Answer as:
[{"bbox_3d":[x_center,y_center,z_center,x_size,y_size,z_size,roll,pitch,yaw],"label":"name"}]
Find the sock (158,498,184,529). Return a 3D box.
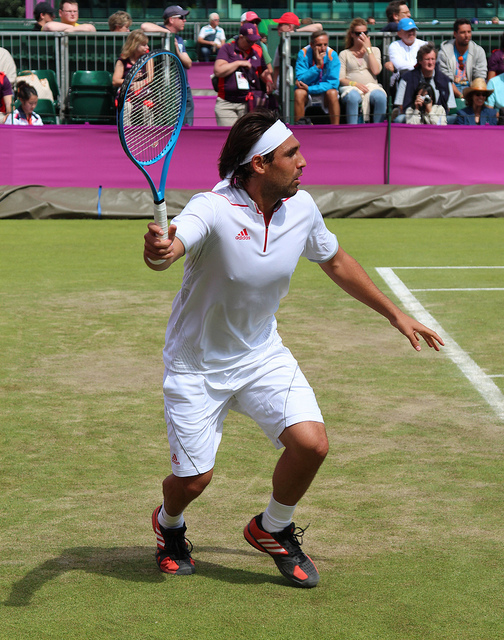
[{"bbox_3d":[-0.312,0.748,3.319,0.093,0.108,0.068,0,14,-4],"label":"sock"}]

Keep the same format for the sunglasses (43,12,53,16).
[{"bbox_3d":[-3.805,-5.770,16.330,0.081,0.071,0.223,5,12,18],"label":"sunglasses"}]

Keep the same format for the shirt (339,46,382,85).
[{"bbox_3d":[1.685,-4.061,13.926,0.690,0.533,0.305,-2,15,-12],"label":"shirt"}]

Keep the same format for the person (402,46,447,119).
[{"bbox_3d":[2.674,-3.696,13.572,0.646,1.007,0.936,5,14,15],"label":"person"}]

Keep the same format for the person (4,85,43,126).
[{"bbox_3d":[-3.745,-3.519,14.178,0.581,0.643,0.494,-2,14,-13],"label":"person"}]

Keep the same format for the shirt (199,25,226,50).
[{"bbox_3d":[-0.867,-6.121,18.640,0.512,0.432,0.557,1,13,-1],"label":"shirt"}]

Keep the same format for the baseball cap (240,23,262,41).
[{"bbox_3d":[-0.049,-4.359,13.110,0.268,0.257,0.229,1,13,-1],"label":"baseball cap"}]

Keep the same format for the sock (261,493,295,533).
[{"bbox_3d":[0.096,0.738,3.301,0.135,0.161,0.088,3,15,10],"label":"sock"}]

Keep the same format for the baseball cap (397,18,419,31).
[{"bbox_3d":[2.531,-4.813,14.181,0.289,0.160,0.369,-3,4,-10],"label":"baseball cap"}]

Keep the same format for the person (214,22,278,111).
[{"bbox_3d":[-0.171,-3.910,13.408,0.819,1.180,0.581,-1,15,-7],"label":"person"}]

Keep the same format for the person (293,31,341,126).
[{"bbox_3d":[1.031,-3.828,13.765,0.745,1.412,0.535,2,15,5],"label":"person"}]

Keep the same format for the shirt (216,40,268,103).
[{"bbox_3d":[-0.193,-3.882,13.541,0.989,0.880,0.551,-2,24,-29],"label":"shirt"}]

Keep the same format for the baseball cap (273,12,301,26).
[{"bbox_3d":[0.641,-5.182,14.938,0.605,0.170,0.316,3,19,-3],"label":"baseball cap"}]

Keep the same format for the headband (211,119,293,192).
[{"bbox_3d":[-0.003,-0.604,3.183,0.284,0.262,0.174,1,14,-1],"label":"headband"}]

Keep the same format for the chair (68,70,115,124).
[{"bbox_3d":[-2.815,-3.972,15.186,0.783,0.736,0.387,-1,15,-10],"label":"chair"}]

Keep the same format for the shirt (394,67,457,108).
[{"bbox_3d":[2.867,-3.708,13.942,1.252,0.556,0.640,-7,15,-33],"label":"shirt"}]

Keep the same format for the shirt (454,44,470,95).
[{"bbox_3d":[3.476,-4.211,14.469,0.170,0.726,0.301,14,20,39],"label":"shirt"}]

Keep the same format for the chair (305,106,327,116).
[{"bbox_3d":[1.031,-3.444,14.287,0.252,0.162,0.300,2,5,4],"label":"chair"}]

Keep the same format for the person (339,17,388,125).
[{"bbox_3d":[1.774,-3.969,13.931,0.784,1.572,0.619,2,15,3],"label":"person"}]

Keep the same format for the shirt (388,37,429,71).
[{"bbox_3d":[2.461,-4.300,14.233,0.621,0.266,0.625,-2,55,-2],"label":"shirt"}]

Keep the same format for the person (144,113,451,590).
[{"bbox_3d":[0.025,0.118,3.227,1.091,1.740,0.639,-6,17,-25],"label":"person"}]

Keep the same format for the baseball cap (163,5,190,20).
[{"bbox_3d":[-1.250,-4.952,13.902,0.551,0.212,0.286,-6,26,-4],"label":"baseball cap"}]
